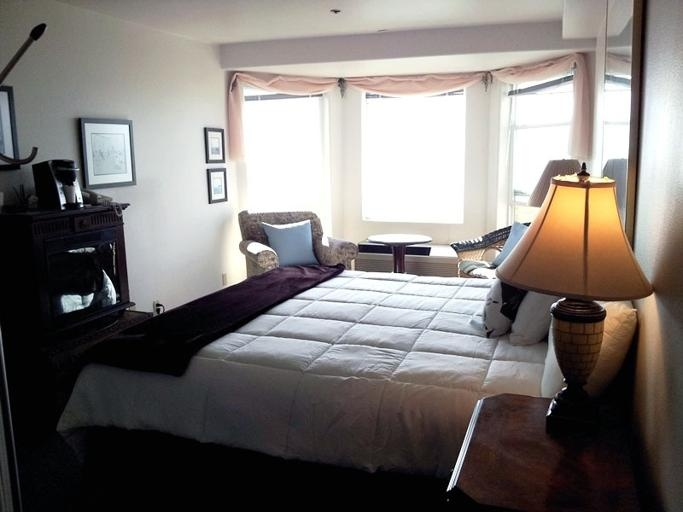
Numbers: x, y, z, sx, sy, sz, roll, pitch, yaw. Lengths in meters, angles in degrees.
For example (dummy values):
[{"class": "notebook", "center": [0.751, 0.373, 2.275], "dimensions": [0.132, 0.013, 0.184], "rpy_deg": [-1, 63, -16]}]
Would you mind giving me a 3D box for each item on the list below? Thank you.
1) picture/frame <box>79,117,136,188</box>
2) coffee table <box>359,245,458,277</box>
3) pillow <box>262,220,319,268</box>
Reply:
[{"class": "picture/frame", "center": [-1.942, -0.854, 4.273], "dimensions": [0.546, 0.552, 0.022], "rpy_deg": [2, 8, 18]}, {"class": "coffee table", "center": [0.767, 0.106, 5.789], "dimensions": [0.754, 0.344, 0.399], "rpy_deg": [0, 3, 15]}, {"class": "pillow", "center": [-0.511, -0.127, 5.203], "dimensions": [0.551, 0.421, 0.484], "rpy_deg": [-3, 10, -9]}]
